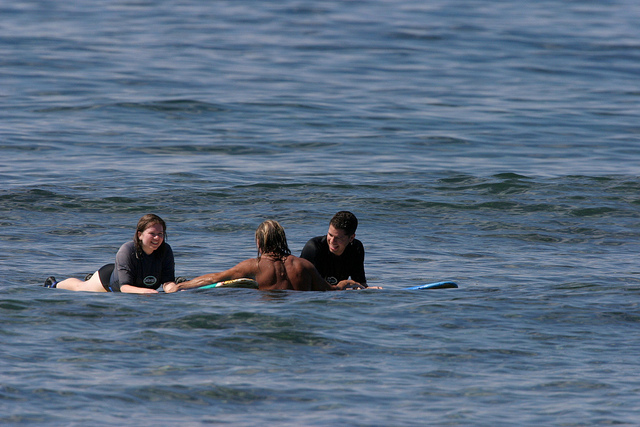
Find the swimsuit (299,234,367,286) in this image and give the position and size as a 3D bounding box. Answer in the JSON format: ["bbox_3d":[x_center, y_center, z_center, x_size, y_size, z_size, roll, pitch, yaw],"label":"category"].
[{"bbox_3d":[0.284,1.076,26.950,2.290,0.879,0.781,1,2,-8],"label":"swimsuit"}]
